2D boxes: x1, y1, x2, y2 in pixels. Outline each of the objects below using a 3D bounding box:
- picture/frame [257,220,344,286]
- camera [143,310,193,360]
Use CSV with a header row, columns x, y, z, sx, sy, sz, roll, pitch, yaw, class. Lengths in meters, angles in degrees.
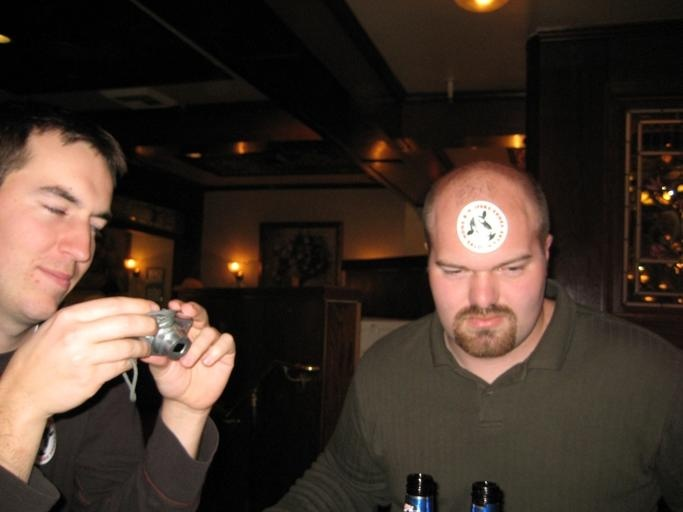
x,y,z,sx,sy,sz,roll,pitch,yaw,class
-0.760,0.004,11.214,1.680,1.280,0.141,-1,3,-33,picture/frame
-0.634,0.287,2.300,0.172,0.178,0.118,5,-6,-31,camera
